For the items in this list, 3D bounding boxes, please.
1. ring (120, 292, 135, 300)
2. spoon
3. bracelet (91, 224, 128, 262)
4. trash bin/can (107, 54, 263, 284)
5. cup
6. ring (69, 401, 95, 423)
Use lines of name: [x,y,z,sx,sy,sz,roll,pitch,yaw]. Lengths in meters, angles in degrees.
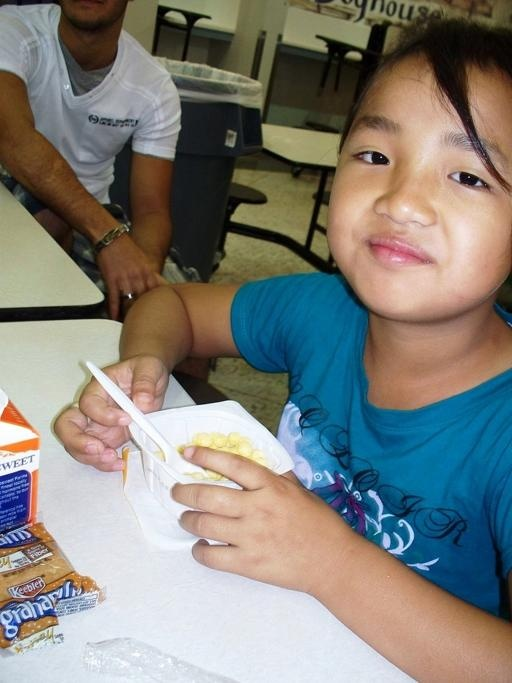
ring: [-0.316,-0.113,1.425,0.022,0.015,0.022,2,0,0]
spoon: [-0.145,0.057,0.631,0.266,0.054,0.045,47,1,40]
bracelet: [-0.381,-0.274,1.515,0.026,0.094,0.095,49,27,-15]
trash bin/can: [-0.310,-0.787,2.586,0.581,0.711,0.579,7,25,-9]
cup: [-0.048,0.118,0.595,0.125,0.052,0.109,-5,36,-38]
ring: [-0.193,0.080,0.641,0.023,0.019,0.011,54,15,-7]
